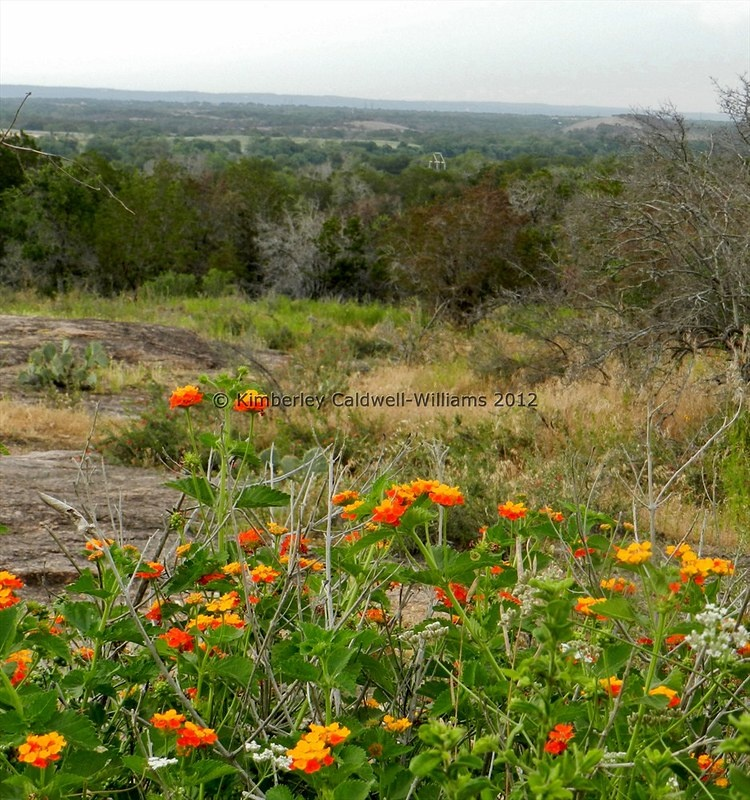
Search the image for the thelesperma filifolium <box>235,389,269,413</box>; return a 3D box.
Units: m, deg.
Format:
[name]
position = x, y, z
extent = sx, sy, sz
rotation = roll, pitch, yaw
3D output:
[thelesperma filifolium]
position = -0.394, 0.010, 4.044
extent = 0.088, 0.054, 0.082
rotation = 3, 13, 11
